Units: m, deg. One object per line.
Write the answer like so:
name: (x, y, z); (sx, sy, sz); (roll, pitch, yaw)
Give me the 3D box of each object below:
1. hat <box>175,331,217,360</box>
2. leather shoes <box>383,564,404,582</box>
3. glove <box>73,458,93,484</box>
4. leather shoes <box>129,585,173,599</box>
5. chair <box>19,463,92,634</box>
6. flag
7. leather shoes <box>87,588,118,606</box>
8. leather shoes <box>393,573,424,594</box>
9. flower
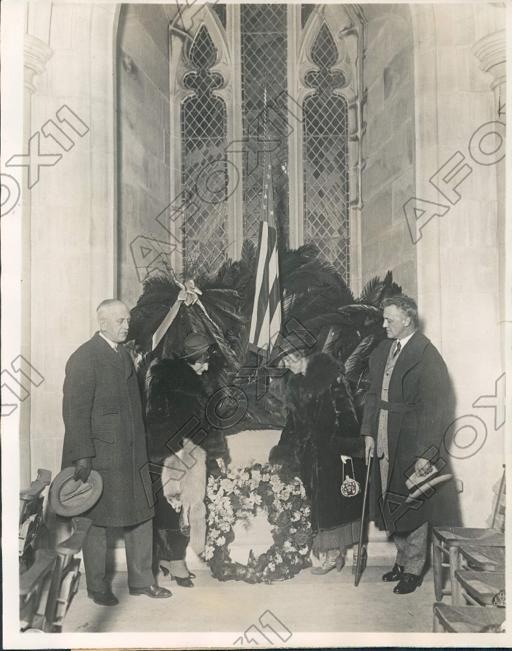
hat: (-0.480, 0.155, 9.466); (0.147, 0.125, 0.080); (-26, -9, -4)
leather shoes: (0.986, 1.770, 9.302); (0.201, 0.088, 0.072); (-6, 25, -8)
glove: (-1.285, 1.038, 9.225); (0.111, 0.174, 0.043); (2, -3, 1)
leather shoes: (-0.784, 1.880, 9.196); (0.303, 0.133, 0.116); (-2, -6, -2)
chair: (-1.464, 1.624, 9.218); (0.672, 1.141, 1.094); (2, -1, -3)
flag: (0.091, -0.479, 9.488); (0.098, 1.653, 0.265); (14, 22, 39)
leather shoes: (-1.130, 1.928, 9.233); (0.184, 0.089, 0.102); (-1, -6, 27)
leather shoes: (1.094, 1.847, 9.269); (0.247, 0.116, 0.104); (-6, 12, -23)
flower: (-0.015, 1.439, 9.423); (0.711, 0.786, 0.312); (2, -5, 2)
